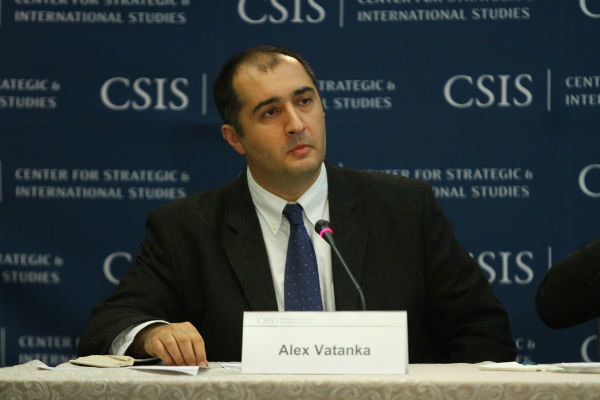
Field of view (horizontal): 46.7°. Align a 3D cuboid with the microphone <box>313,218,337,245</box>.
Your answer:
[{"bbox_3d":[0.114,0.161,3.264,0.070,0.119,0.180,-5,0,4],"label":"microphone"}]

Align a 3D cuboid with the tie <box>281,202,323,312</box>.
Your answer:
[{"bbox_3d":[-0.003,0.288,3.473,0.185,0.535,0.220,-5,0,0],"label":"tie"}]

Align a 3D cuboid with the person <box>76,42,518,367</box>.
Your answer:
[{"bbox_3d":[0.067,0.052,3.707,1.318,2.234,0.871,-6,-37,-2],"label":"person"}]
